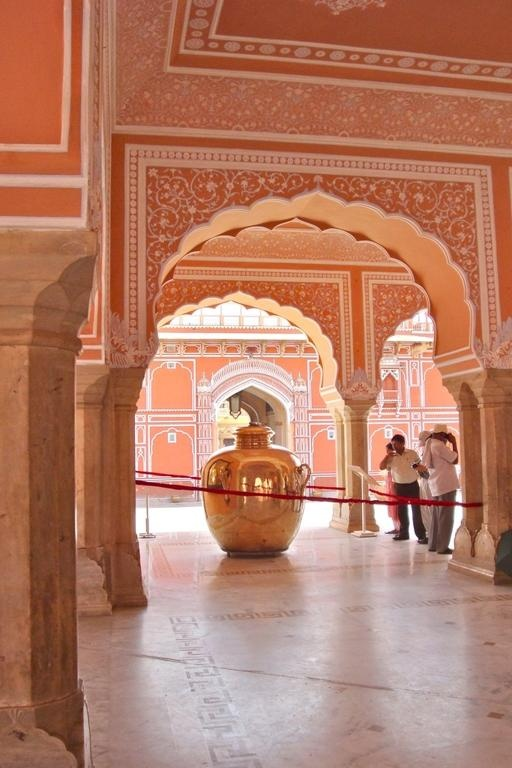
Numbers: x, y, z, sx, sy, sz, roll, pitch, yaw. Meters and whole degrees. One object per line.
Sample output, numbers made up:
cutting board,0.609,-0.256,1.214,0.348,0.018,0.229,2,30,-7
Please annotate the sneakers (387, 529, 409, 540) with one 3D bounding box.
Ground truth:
sneakers,1.489,1.569,6.929,0.233,0.140,0.077,7,0,0

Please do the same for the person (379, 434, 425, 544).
person,1.435,1.037,6.469,0.439,1.098,1.121,0,-1,13

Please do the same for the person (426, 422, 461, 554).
person,1.612,0.925,5.790,0.290,1.142,0.724,0,-2,17

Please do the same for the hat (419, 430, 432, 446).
hat,1.671,0.524,6.458,0.060,0.159,0.129,16,1,-9
